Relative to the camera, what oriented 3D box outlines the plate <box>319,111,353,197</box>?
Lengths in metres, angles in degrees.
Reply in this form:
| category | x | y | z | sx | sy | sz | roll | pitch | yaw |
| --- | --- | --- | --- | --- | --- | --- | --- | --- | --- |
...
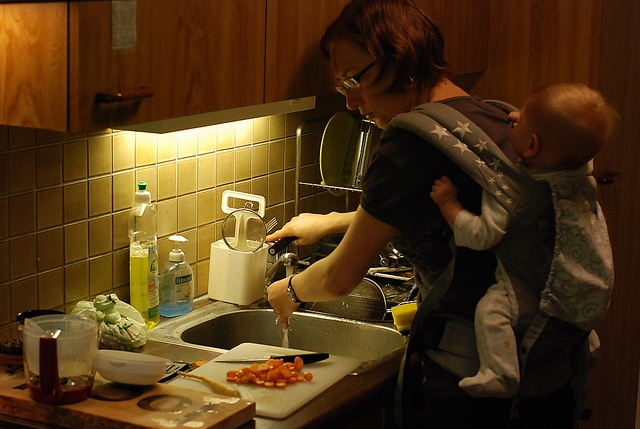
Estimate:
| category | x | y | z | sx | sy | sz | roll | pitch | yaw |
| --- | --- | --- | --- | --- | --- | --- | --- | --- | --- |
| plate | 0.079 | -0.277 | 2.475 | 0.072 | 0.326 | 0.215 | 12 | 24 | 29 |

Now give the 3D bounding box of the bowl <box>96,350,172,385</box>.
| category | x | y | z | sx | sy | sz | roll | pitch | yaw |
| --- | --- | --- | --- | --- | --- | --- | --- | --- | --- |
| bowl | -0.496 | 0.409 | 1.443 | 0.162 | 0.071 | 0.165 | 0 | -14 | 0 |

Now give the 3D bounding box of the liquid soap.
| category | x | y | z | sx | sy | sz | roll | pitch | yaw |
| --- | --- | --- | --- | --- | --- | --- | --- | --- | --- |
| liquid soap | -0.520 | 0.226 | 2.079 | 0.092 | 0.303 | 0.184 | 5 | 6 | 25 |

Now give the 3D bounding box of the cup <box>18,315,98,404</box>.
| category | x | y | z | sx | sy | sz | roll | pitch | yaw |
| --- | --- | --- | --- | --- | --- | --- | --- | --- | --- |
| cup | -0.614 | 0.332 | 1.382 | 0.191 | 0.200 | 0.238 | 2 | 2 | -22 |

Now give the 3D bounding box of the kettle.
| category | x | y | z | sx | sy | sz | roll | pitch | yaw |
| --- | --- | --- | --- | --- | --- | --- | --- | --- | --- |
| kettle | 0.206 | -0.300 | 2.531 | 0.158 | 0.362 | 0.128 | 5 | 21 | 9 |

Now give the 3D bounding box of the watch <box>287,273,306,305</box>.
| category | x | y | z | sx | sy | sz | roll | pitch | yaw |
| --- | --- | --- | --- | --- | --- | --- | --- | --- | --- |
| watch | -0.057 | 0.230 | 1.652 | 0.020 | 0.072 | 0.072 | -24 | 49 | -11 |
